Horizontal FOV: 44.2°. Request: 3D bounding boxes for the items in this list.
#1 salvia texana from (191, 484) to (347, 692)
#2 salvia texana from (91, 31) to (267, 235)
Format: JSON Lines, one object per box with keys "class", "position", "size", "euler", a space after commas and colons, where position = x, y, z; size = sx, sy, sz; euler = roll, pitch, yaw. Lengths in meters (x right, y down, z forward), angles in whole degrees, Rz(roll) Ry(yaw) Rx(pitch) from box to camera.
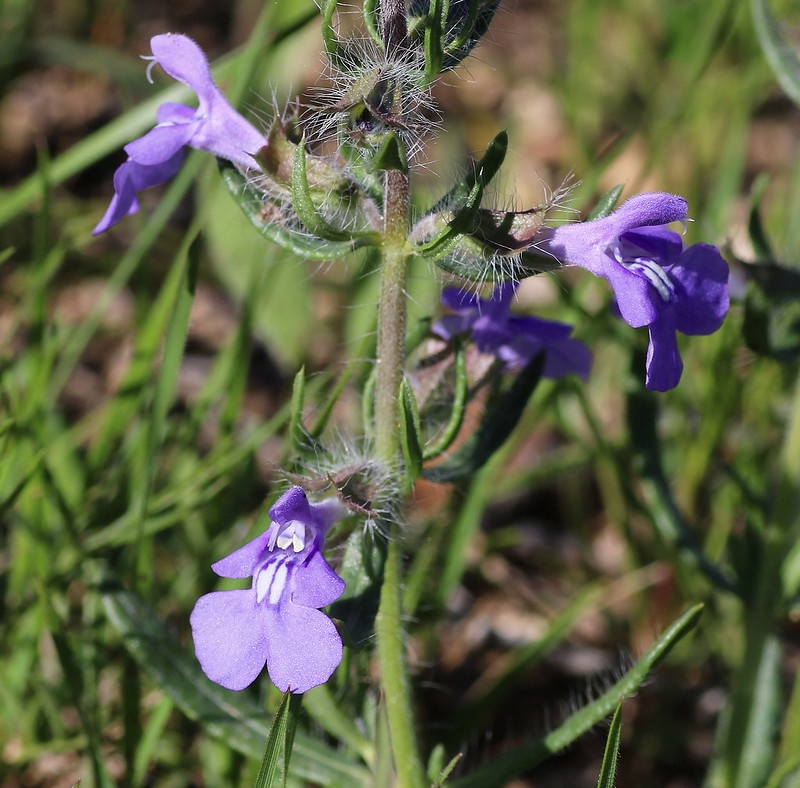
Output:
{"class": "salvia texana", "position": [-0.227, 0.347, 1.869], "size": [0.284, 0.412, 0.168], "euler": [10, -56, 5]}
{"class": "salvia texana", "position": [-0.459, -0.570, 2.150], "size": [0.472, 0.365, 0.182], "euler": [-8, 20, -1]}
